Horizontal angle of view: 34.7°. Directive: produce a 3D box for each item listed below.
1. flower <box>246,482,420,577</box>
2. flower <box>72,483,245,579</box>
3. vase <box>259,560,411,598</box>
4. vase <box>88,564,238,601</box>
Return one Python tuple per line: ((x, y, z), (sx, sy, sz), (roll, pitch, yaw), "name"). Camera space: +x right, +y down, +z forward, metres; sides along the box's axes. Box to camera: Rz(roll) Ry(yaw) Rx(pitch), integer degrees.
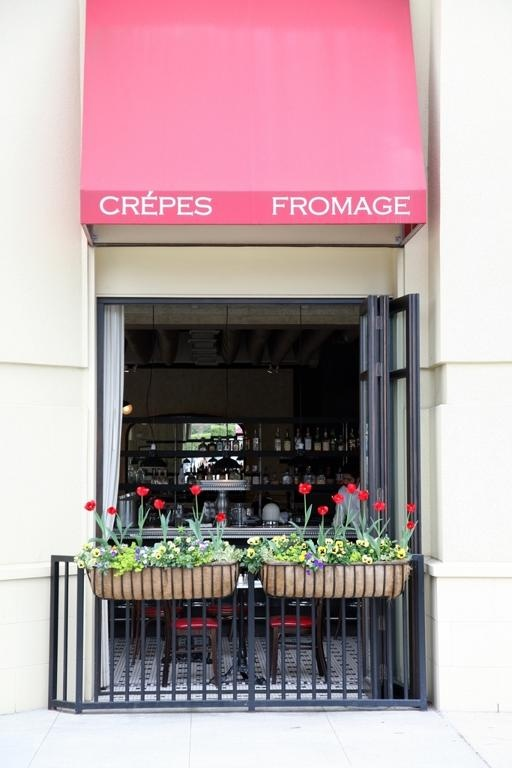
((0.455, 0.932, 4.919), (1.006, 0.582, 0.653), (1, -7, 1), "flower")
((-0.552, 0.831, 4.767), (0.908, 0.588, 0.342), (0, 0, -12), "flower")
((0.456, 1.127, 4.690), (0.568, 0.186, 0.344), (-1, -11, 1), "vase")
((-0.493, 1.134, 4.648), (0.619, 0.187, 0.345), (-3, -12, 4), "vase")
